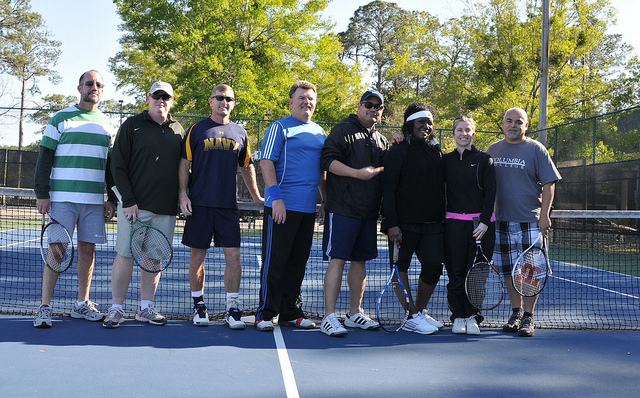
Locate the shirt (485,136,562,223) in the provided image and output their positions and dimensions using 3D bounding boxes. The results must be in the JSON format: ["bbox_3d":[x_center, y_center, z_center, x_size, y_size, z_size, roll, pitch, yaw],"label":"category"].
[{"bbox_3d":[3.299,-0.348,10.445,1.506,1.390,0.642,5,13,39],"label":"shirt"}]

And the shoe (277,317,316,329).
[{"bbox_3d":[-0.387,2.021,10.245,0.596,0.246,0.216,-2,-5,9],"label":"shoe"}]

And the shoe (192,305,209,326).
[{"bbox_3d":[-1.932,1.863,10.061,0.273,0.315,0.224,2,-2,-4],"label":"shoe"}]

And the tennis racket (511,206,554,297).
[{"bbox_3d":[3.397,0.879,10.035,0.585,1.371,0.578,1,-2,13],"label":"tennis racket"}]

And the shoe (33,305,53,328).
[{"bbox_3d":[-4.316,1.825,9.718,0.250,0.339,0.228,3,-3,-26],"label":"shoe"}]

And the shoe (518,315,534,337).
[{"bbox_3d":[3.318,2.036,10.047,0.237,0.309,0.274,1,-3,19],"label":"shoe"}]

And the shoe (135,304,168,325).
[{"bbox_3d":[-2.710,1.880,10.101,0.606,0.280,0.220,5,-7,9],"label":"shoe"}]

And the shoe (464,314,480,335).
[{"bbox_3d":[2.430,1.997,9.976,0.238,0.313,0.216,2,-2,-12],"label":"shoe"}]

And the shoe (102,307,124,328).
[{"bbox_3d":[-3.258,1.854,9.820,0.320,0.317,0.205,3,-2,-19],"label":"shoe"}]

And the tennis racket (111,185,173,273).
[{"bbox_3d":[-2.780,0.450,9.811,0.584,1.581,0.115,-41,-9,-19],"label":"tennis racket"}]

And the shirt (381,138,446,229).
[{"bbox_3d":[1.628,-0.249,10.320,1.432,1.475,1.008,-1,-4,-36],"label":"shirt"}]

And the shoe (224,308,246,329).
[{"bbox_3d":[-1.411,1.898,10.007,0.462,0.308,0.167,-1,-4,44],"label":"shoe"}]

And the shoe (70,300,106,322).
[{"bbox_3d":[-3.748,1.798,10.097,0.669,0.319,0.203,1,-3,20],"label":"shoe"}]

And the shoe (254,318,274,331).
[{"bbox_3d":[-0.873,1.990,9.845,0.142,0.124,0.299,5,-8,-35],"label":"shoe"}]

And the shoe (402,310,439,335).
[{"bbox_3d":[1.599,1.978,10.073,0.287,0.344,0.715,-1,1,-36],"label":"shoe"}]
